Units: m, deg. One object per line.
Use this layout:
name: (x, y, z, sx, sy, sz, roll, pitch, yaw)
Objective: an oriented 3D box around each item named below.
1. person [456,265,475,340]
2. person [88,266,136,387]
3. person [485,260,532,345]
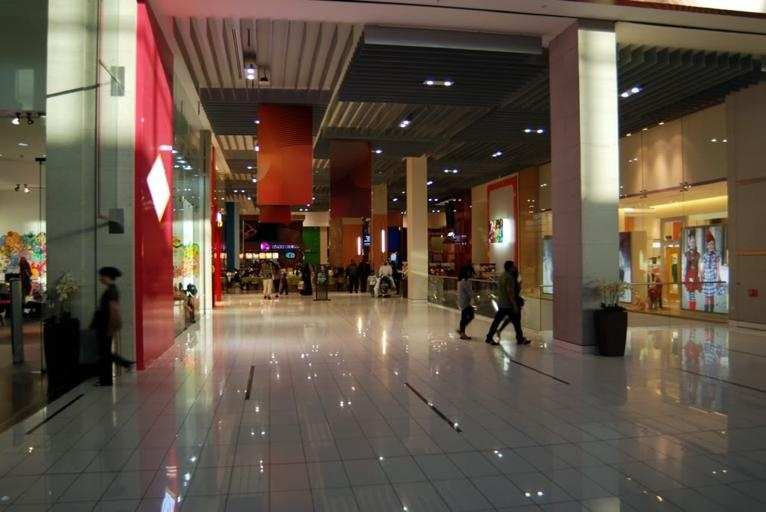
person: (1.759, 0.940, 11.767, 0.291, 1.621, 1.084, 1, 7, 8)
person: (-4.081, 0.995, 8.301, 0.466, 1.729, 0.594, -3, 7, -23)
person: (2.490, 0.886, 10.955, 0.814, 1.728, 1.112, 1, 7, 14)
